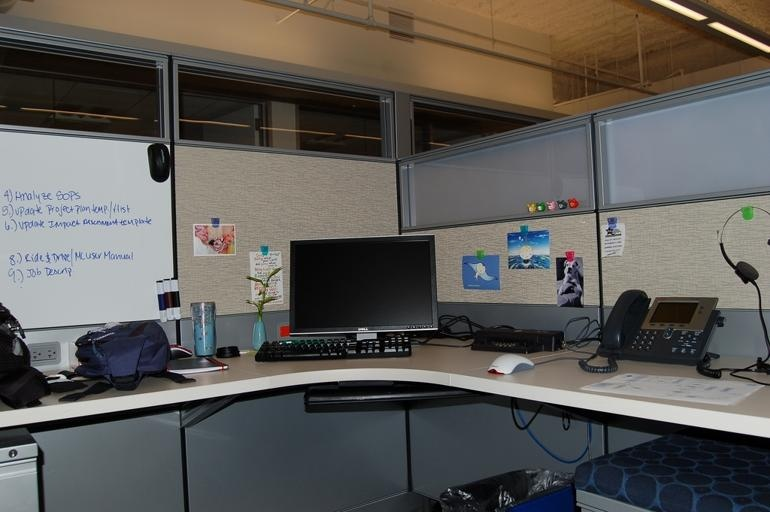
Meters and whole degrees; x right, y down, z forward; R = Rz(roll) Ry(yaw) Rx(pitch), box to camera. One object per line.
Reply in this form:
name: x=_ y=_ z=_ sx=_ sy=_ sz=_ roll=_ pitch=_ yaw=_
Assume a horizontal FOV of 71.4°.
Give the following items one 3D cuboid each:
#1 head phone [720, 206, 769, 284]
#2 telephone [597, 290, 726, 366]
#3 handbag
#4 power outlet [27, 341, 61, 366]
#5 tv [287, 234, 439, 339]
head phone: x=1.327 y=-0.040 z=1.968 sx=0.162 sy=0.293 sz=0.113 roll=2 pitch=6 yaw=25
telephone: x=1.027 y=0.258 z=1.991 sx=0.264 sy=0.215 sz=0.369 roll=-11 pitch=2 yaw=-35
handbag: x=-0.987 y=0.348 z=2.011 sx=0.299 sy=0.215 sz=0.219 roll=-4 pitch=7 yaw=-30
power outlet: x=-1.428 y=0.406 z=2.230 sx=0.143 sy=0.122 sz=0.032 roll=0 pitch=-4 yaw=-30
tv: x=-0.098 y=0.142 z=2.462 sx=0.538 sy=0.337 sz=0.044 roll=-2 pitch=-16 yaw=2
